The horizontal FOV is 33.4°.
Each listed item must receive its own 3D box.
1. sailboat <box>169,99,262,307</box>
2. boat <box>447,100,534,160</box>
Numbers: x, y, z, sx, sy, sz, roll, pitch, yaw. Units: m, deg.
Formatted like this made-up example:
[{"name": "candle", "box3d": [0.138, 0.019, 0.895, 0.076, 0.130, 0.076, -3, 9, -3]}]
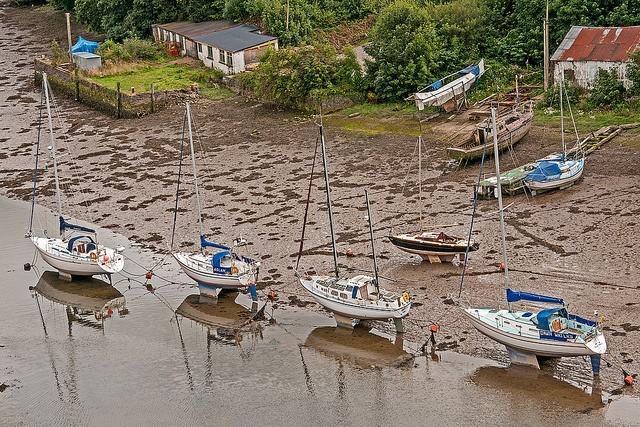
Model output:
[{"name": "sailboat", "box3d": [-6.677, 0.245, 66.401, 7.984, 9.921, 2.735, 12, 22, 36]}, {"name": "boat", "box3d": [12.325, -5.518, 75.803, 8.083, 2.185, 2.623, -26, 26, -33]}]
